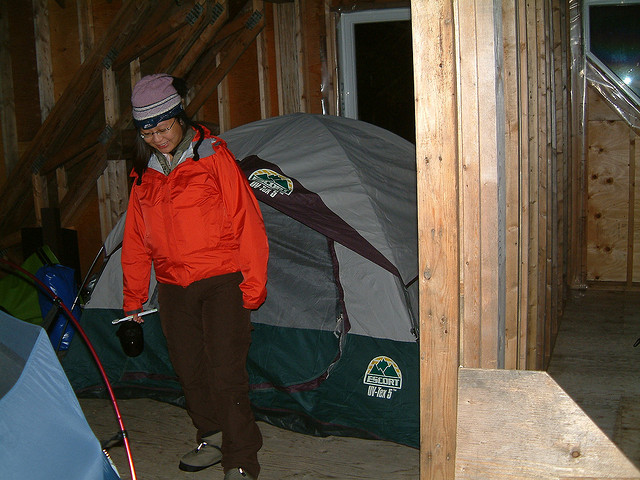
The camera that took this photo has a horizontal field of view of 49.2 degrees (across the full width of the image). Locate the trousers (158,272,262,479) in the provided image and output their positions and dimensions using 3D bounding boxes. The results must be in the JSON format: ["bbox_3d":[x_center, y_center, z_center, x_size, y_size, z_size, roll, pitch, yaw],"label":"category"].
[{"bbox_3d":[-0.529,0.633,3.404,0.553,0.976,0.228,8,12,36],"label":"trousers"}]

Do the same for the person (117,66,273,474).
[{"bbox_3d":[-0.606,0.202,3.402,0.768,1.969,0.349,8,12,35],"label":"person"}]
